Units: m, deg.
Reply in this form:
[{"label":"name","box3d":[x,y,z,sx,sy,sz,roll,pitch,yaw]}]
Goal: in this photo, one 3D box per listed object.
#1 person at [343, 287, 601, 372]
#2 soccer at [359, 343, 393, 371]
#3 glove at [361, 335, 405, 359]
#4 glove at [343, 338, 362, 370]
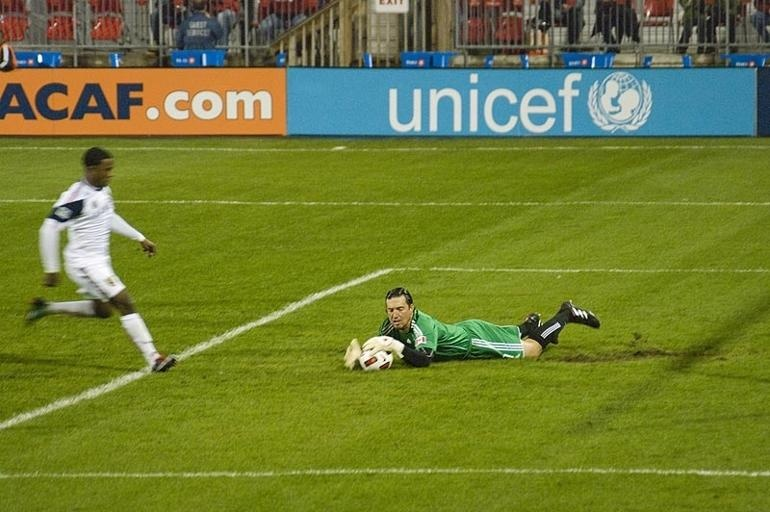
[{"label":"person","box3d":[1.361,1.200,27.025,3.188,0.850,1.592,0,-6,-9]},{"label":"soccer","box3d":[-0.117,1.679,26.714,0.462,0.306,0.417,4,15,37]},{"label":"glove","box3d":[-0.018,1.501,26.631,0.605,0.206,0.346,13,-6,10]},{"label":"glove","box3d":[-0.531,1.629,26.794,0.172,0.444,0.351,16,17,-20]}]
